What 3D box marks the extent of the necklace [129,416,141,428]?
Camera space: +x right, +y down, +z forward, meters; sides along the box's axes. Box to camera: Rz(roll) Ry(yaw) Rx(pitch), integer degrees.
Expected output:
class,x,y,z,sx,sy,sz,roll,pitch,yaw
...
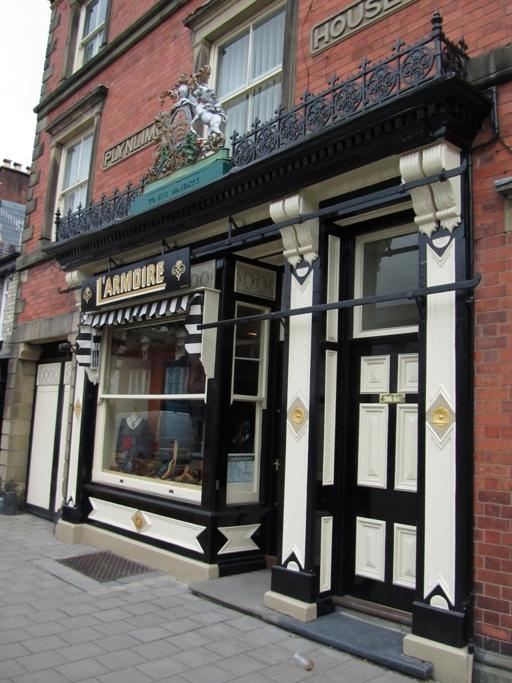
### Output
class,x,y,z,sx,sy,sz,roll,pitch,yaw
necklace,-1.626,1.062,8.169,0.167,0.186,0.068,-3,-11,38
